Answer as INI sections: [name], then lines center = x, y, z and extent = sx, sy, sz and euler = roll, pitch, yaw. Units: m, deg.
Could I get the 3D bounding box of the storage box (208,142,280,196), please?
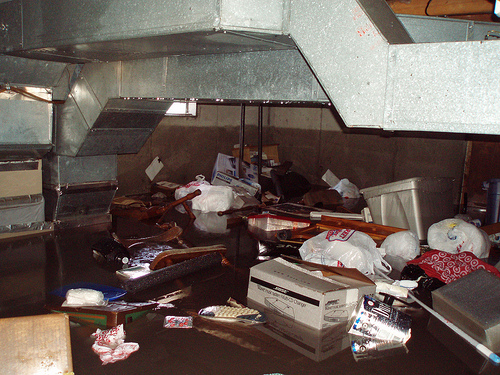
[storage box]
center = -0.216, -0.267, 5.916
extent = 0.865, 0.740, 0.201
euler = 6, 3, -26
